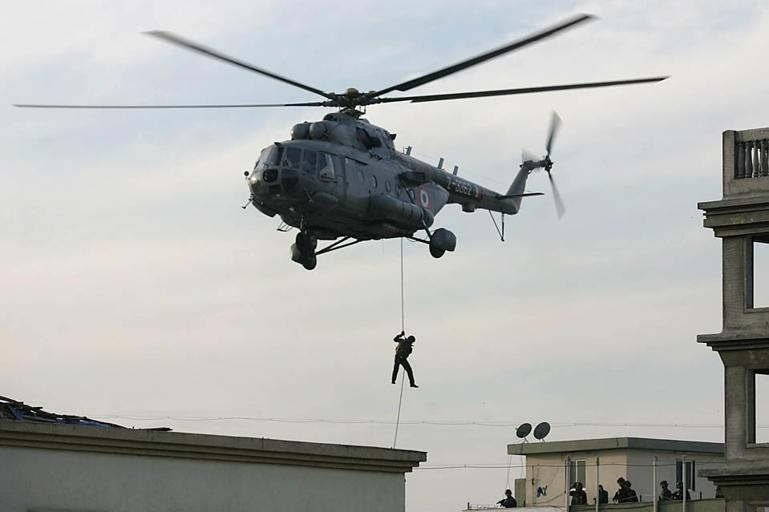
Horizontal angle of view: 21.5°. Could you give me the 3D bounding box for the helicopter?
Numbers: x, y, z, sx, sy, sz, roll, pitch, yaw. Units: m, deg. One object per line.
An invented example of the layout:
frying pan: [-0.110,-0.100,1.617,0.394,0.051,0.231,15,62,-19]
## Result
helicopter: [0.485,-2.001,54.853,9.510,3.273,9.537,-5,-9,43]

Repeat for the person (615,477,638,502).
person: [6.934,6.671,58.134,0.661,0.617,1.306,1,-2,6]

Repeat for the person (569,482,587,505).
person: [5.715,6.927,59.640,0.804,0.765,0.453,2,-18,0]
